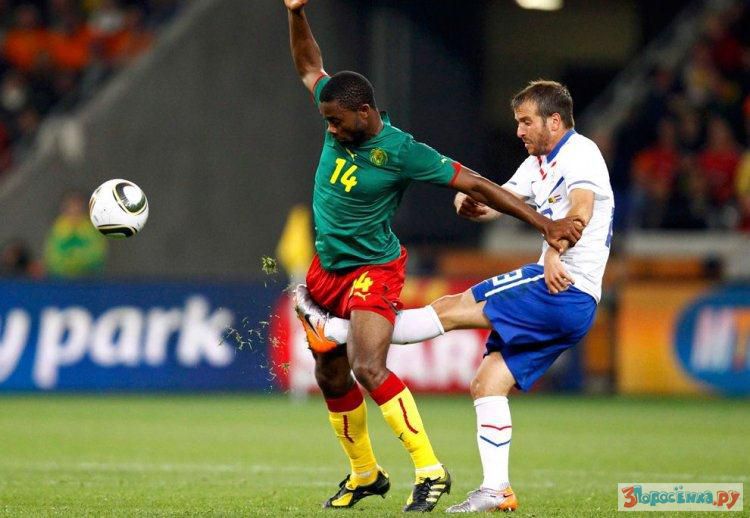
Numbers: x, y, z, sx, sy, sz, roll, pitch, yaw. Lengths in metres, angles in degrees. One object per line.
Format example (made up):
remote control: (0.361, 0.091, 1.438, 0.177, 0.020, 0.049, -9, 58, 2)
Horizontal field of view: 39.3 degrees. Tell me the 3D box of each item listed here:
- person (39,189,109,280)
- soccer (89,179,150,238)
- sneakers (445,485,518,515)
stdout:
person: (-4.784, -0.272, 16.867, 1.057, 1.611, 0.696, 0, -6, 1)
soccer: (-2.542, -0.461, 10.313, 0.624, 0.693, 0.657, 3, 1, 15)
sneakers: (0.971, 2.183, 9.461, 0.657, 0.270, 0.247, 1, -12, -7)
